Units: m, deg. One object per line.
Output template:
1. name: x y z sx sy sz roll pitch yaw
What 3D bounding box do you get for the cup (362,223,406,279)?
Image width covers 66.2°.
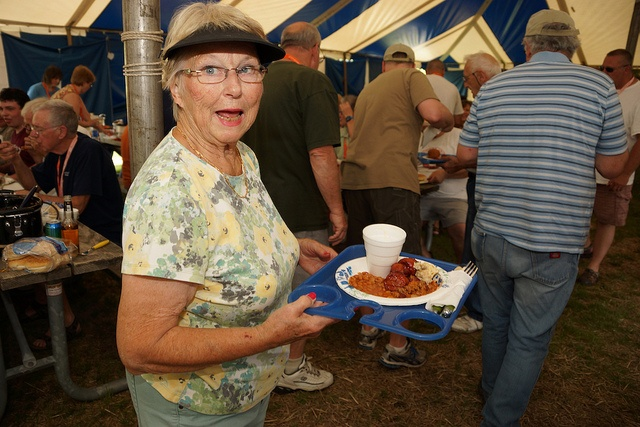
1. cup: 0.407 0.232 3.535 0.319 0.379 0.279 2 15 -13

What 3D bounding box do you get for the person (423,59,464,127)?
1. person: 1.670 -1.641 6.553 0.591 1.153 0.617 7 21 11

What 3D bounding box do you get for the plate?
1. plate: 0.396 0.490 3.253 0.315 0.602 0.342 12 17 37

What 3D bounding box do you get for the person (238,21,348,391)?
1. person: -0.279 0.069 4.691 0.986 3.396 1.124 9 22 4

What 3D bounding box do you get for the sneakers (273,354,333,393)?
1. sneakers: -0.149 1.563 4.793 0.572 0.289 0.214 3 8 -8

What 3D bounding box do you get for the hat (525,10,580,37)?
1. hat: 1.990 -1.633 4.265 0.429 0.221 0.580 -2 9 12

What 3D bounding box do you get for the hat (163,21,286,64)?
1. hat: -0.631 -1.095 3.169 0.694 0.187 0.735 -5 5 1
